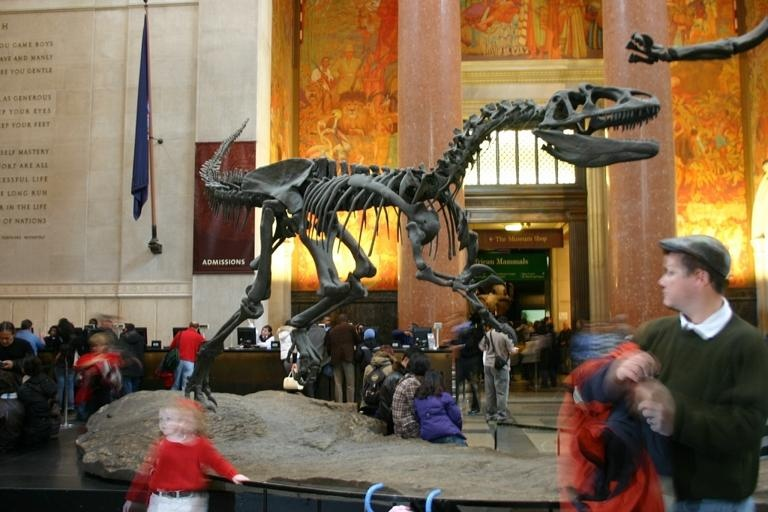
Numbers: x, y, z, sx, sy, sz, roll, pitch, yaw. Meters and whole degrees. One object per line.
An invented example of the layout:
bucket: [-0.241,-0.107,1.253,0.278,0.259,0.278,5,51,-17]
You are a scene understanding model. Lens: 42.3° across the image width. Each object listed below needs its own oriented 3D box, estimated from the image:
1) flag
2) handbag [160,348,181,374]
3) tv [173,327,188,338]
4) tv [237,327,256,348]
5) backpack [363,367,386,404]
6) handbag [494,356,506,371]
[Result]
flag: [-5.655,-3.245,23.058,0.494,4.809,0.542,-2,0,-14]
handbag: [-4.138,2.049,19.326,0.440,0.437,0.329,7,-3,-7]
tv: [-4.154,1.578,20.324,0.196,0.228,0.352,1,-5,-18]
tv: [-2.857,1.724,20.807,0.540,0.509,0.189,0,4,4]
backpack: [-0.181,2.316,17.658,0.258,0.668,0.616,-2,0,-21]
handbag: [2.245,2.071,19.144,0.302,0.157,0.204,5,27,-26]
